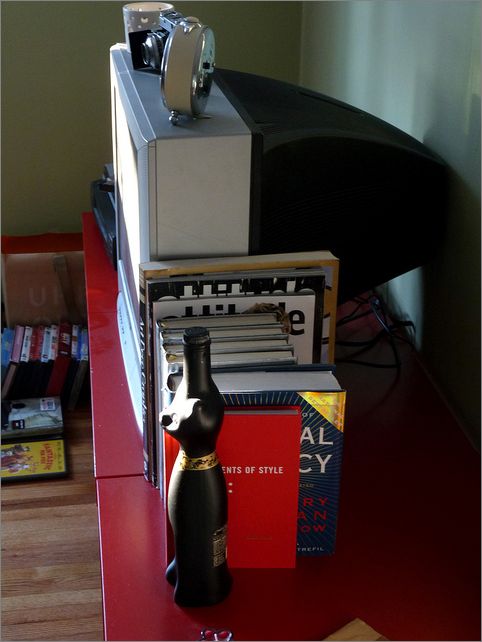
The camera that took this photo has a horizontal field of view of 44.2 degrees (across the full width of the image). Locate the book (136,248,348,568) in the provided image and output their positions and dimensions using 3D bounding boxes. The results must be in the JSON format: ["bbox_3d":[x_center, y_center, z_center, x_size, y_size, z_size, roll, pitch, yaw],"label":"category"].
[{"bbox_3d":[0.029,0.092,0.781,0.288,0.405,0.330,-2,21,-6],"label":"book"}]

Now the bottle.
[{"bbox_3d":[-0.041,0.148,0.550,0.060,0.304,0.047,-2,27,-2],"label":"bottle"}]

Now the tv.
[{"bbox_3d":[0.041,-0.216,1.037,0.459,0.395,0.411,-20,38,-18],"label":"tv"}]
